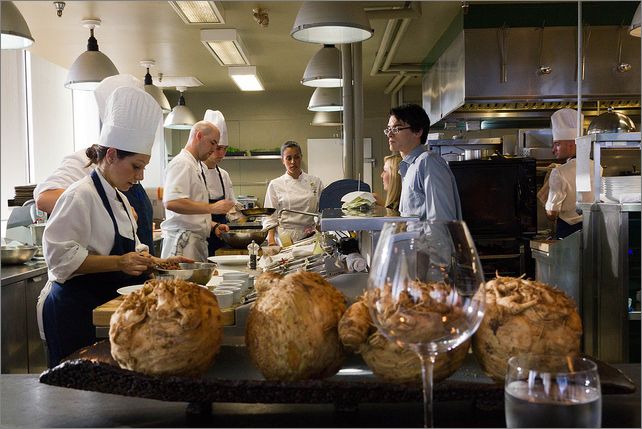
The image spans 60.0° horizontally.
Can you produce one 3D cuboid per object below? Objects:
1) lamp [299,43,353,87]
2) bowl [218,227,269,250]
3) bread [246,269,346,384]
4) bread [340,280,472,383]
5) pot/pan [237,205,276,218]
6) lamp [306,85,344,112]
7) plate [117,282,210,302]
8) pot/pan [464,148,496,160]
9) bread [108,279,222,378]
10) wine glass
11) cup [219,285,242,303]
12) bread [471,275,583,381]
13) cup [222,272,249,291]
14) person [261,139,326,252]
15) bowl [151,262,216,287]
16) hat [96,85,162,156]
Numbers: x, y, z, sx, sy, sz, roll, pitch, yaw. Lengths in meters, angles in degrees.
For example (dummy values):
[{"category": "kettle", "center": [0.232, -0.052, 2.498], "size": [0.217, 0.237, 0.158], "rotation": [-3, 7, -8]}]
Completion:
[{"category": "lamp", "center": [0.030, -1.309, 5.052], "size": [0.406, 0.411, 0.416], "rotation": [3, 0, -18]}, {"category": "bowl", "center": [-0.596, 0.190, 4.214], "size": [0.351, 0.144, 0.219], "rotation": [0, 3, 27]}, {"category": "bread", "center": [-0.077, 0.346, 1.825], "size": [0.324, 0.335, 0.282], "rotation": [5, -4, 0]}, {"category": "bread", "center": [0.229, 0.338, 1.642], "size": [0.272, 0.206, 0.289], "rotation": [5, 3, 29]}, {"category": "pot/pan", "center": [-0.510, -0.020, 4.495], "size": [0.189, 0.033, 0.191], "rotation": [-7, -12, 22]}, {"category": "lamp", "center": [0.047, -1.171, 5.817], "size": [0.293, 0.290, 0.306], "rotation": [1, -4, -3]}, {"category": "plate", "center": [-0.494, 0.247, 1.763], "size": [0.183, 0.032, 0.182], "rotation": [1, 0, -2]}, {"category": "pot/pan", "center": [1.608, -0.596, 5.657], "size": [0.368, 0.133, 0.232], "rotation": [0, 0, 9]}, {"category": "bread", "center": [-0.451, 0.348, 1.753], "size": [0.324, 0.288, 0.255], "rotation": [4, -9, -8]}, {"category": "wine glass", "center": [0.285, 0.298, 1.506], "size": [0.302, 0.562, 0.104], "rotation": [-2, 3, -13]}, {"category": "cup", "center": [-0.416, 0.367, 2.568], "size": [0.077, 0.047, 0.077], "rotation": [0, -1, 0]}, {"category": "bread", "center": [0.641, 0.337, 1.686], "size": [0.251, 0.287, 0.320], "rotation": [11, -6, -38]}, {"category": "cup", "center": [-0.422, 0.331, 2.761], "size": [0.089, 0.054, 0.089], "rotation": [0, -2, 0]}, {"category": "person", "center": [-0.289, -0.259, 5.583], "size": [0.609, 1.063, 1.888], "rotation": [-1, 3, -1]}, {"category": "bowl", "center": [-0.641, 0.268, 2.605], "size": [0.183, 0.067, 0.185], "rotation": [0, -1, 0]}, {"category": "hat", "center": [-0.996, -0.474, 3.027], "size": [0.331, 0.335, 0.360], "rotation": [12, -11, -38]}]
